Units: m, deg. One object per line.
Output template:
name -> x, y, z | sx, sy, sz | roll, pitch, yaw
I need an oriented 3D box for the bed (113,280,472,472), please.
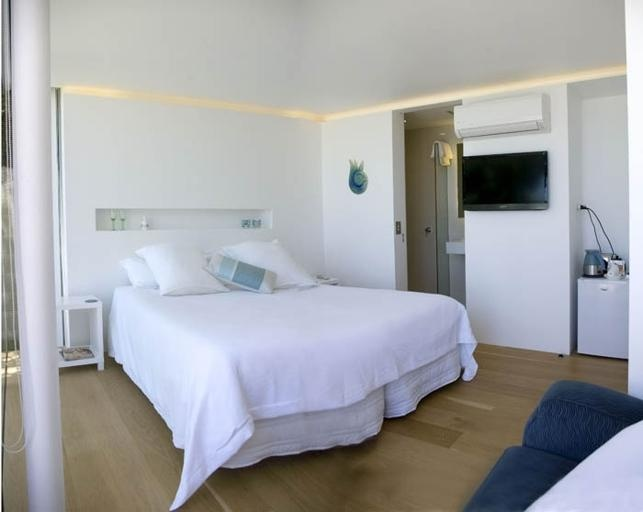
bed -> -0.475, 0.686, 3.205 | 1.344, 0.443, 1.403 | -2, 2, -39

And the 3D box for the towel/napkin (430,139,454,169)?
towel/napkin -> 1.502, -1.282, 6.114 | 0.175, 0.369, 0.415 | 2, 3, 40

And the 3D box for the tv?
tv -> 1.753, -0.717, 4.760 | 0.804, 0.550, 0.086 | 5, 10, 32

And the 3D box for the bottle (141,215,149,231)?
bottle -> -1.736, -0.323, 4.857 | 0.074, 0.134, 0.134 | -4, 9, -20

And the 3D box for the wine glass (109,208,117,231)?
wine glass -> -1.989, -0.353, 4.735 | 0.061, 0.196, 0.039 | -4, 9, -25

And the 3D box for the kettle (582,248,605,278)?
kettle -> 2.522, 0.082, 4.671 | 0.229, 0.242, 0.198 | 7, -8, -36

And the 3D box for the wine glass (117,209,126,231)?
wine glass -> -1.933, -0.351, 4.786 | 0.076, 0.185, 0.027 | -5, 10, -29

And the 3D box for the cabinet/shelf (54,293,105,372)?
cabinet/shelf -> -2.137, 0.667, 4.383 | 0.367, 0.638, 0.657 | -5, 10, -28

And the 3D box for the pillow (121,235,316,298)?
pillow -> -0.899, 0.078, 4.497 | 1.130, 0.187, 0.776 | -3, 23, -30
